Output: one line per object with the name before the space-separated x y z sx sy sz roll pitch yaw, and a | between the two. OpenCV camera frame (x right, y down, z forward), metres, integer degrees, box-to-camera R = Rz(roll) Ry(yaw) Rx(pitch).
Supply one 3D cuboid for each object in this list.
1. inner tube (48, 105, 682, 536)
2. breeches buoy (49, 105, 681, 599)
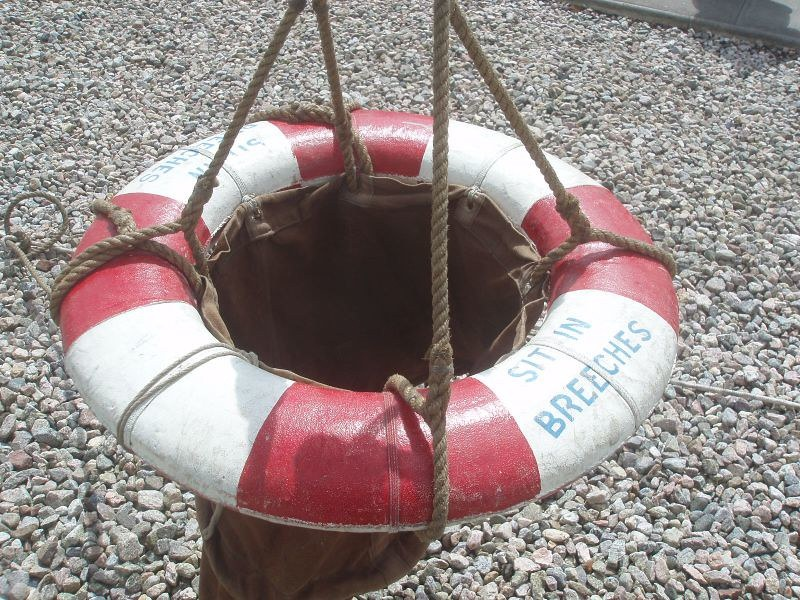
inner tube | -0.098 0.113 2.441 1.875 0.784 1.285 12 40 4
breeches buoy | 0.039 0.143 2.293 1.546 0.604 1.555 -31 54 -31
